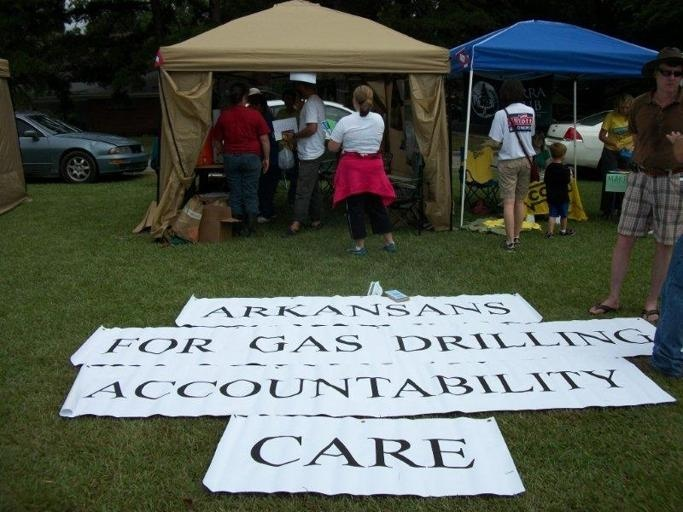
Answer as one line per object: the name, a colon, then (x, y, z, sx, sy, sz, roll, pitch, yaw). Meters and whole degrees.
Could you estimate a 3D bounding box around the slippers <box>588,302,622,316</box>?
slippers: (2.441, 0.500, 4.892, 0.204, 0.060, 0.125, 0, 10, 6)

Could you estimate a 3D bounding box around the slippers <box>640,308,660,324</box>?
slippers: (2.718, 0.532, 4.639, 0.079, 0.057, 0.216, -20, 17, 9)

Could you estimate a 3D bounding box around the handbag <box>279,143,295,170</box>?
handbag: (-0.894, -1.610, 8.596, 0.173, 0.479, 0.438, 1, 7, 30)

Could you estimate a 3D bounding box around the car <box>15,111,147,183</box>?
car: (-6.274, -2.625, 12.681, 2.912, 1.159, 1.496, 0, 12, -1)

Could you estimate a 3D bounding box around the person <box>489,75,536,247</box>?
person: (2.229, -1.208, 6.949, 0.554, 2.158, 0.617, 4, 13, 21)

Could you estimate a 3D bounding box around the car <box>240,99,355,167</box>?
car: (-0.586, -2.524, 10.534, 1.671, 0.960, 1.083, -14, 22, -12)

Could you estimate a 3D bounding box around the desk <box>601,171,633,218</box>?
desk: (4.154, -1.063, 7.931, 0.269, 0.469, 0.301, -3, 22, 16)

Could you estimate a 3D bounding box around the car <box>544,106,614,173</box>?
car: (6.040, -2.820, 12.693, 2.572, 1.035, 1.130, -17, 20, -32)

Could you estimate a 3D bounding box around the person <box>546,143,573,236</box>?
person: (3.230, -1.010, 7.820, 0.446, 1.297, 1.048, 4, 14, 21)

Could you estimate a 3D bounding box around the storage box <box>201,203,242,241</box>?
storage box: (-1.736, -0.376, 7.590, 0.470, 0.458, 0.723, -19, -9, -22)

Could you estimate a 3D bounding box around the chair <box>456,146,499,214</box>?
chair: (2.302, -1.321, 8.803, 0.616, 1.132, 0.742, 3, 0, 6)
